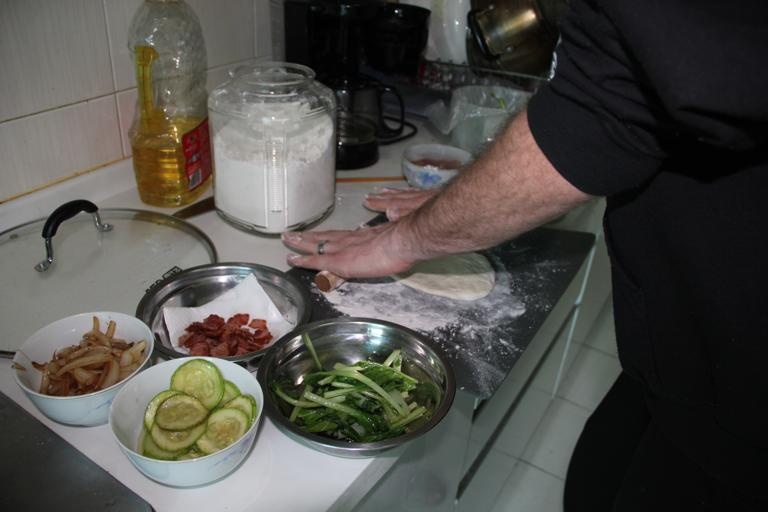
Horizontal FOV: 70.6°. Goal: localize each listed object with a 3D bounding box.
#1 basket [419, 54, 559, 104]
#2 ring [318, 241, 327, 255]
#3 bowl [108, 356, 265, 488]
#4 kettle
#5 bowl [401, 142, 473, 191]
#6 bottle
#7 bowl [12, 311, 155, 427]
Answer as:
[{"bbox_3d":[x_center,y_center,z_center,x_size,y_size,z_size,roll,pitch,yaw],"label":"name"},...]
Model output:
[{"bbox_3d":[0.273,-0.572,1.732,0.344,0.086,0.326,13,32,7],"label":"basket"},{"bbox_3d":[-0.137,-0.019,1.200,0.025,0.025,0.019,8,-3,29],"label":"ring"},{"bbox_3d":[-0.291,0.260,0.834,0.195,0.096,0.195,5,41,-4],"label":"bowl"},{"bbox_3d":[-0.038,-0.416,1.577,0.212,0.193,0.120,9,37,9],"label":"kettle"},{"bbox_3d":[0.155,-0.262,1.524,0.158,0.077,0.158,1,30,0],"label":"bowl"},{"bbox_3d":[-0.284,-0.266,1.305,0.290,0.333,0.291,28,43,21],"label":"bottle"},{"bbox_3d":[-0.465,0.199,0.899,0.188,0.112,0.189,4,38,-3],"label":"bowl"}]
